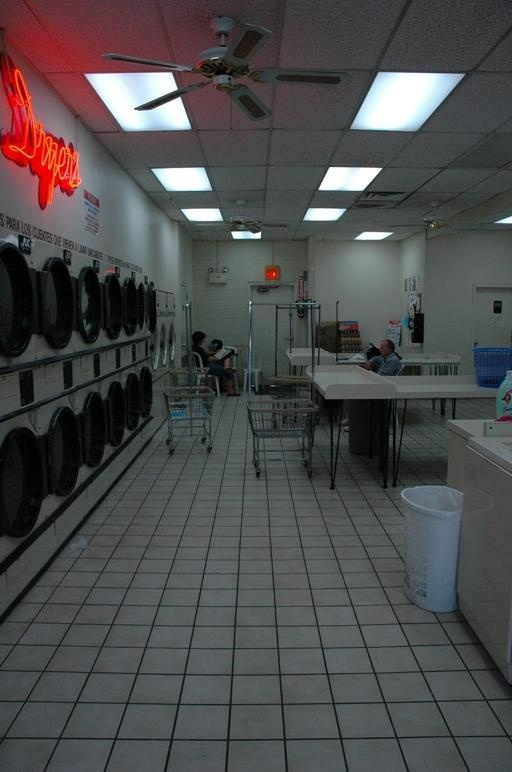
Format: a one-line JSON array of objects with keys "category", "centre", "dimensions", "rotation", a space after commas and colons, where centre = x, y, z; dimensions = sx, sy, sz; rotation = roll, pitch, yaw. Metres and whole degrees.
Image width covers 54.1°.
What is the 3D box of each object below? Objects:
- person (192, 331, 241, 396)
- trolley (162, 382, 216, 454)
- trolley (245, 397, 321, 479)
[{"category": "person", "centre": [-0.836, -0.504, 9.359], "dimensions": [0.717, 1.341, 0.863], "rotation": [-4, 19, 5]}, {"category": "trolley", "centre": [-0.743, 0.335, 5.564], "dimensions": [0.573, 1.103, 0.739], "rotation": [0, 2, -1]}, {"category": "trolley", "centre": [0.255, 0.382, 4.664], "dimensions": [0.589, 0.706, 0.780], "rotation": [-1, 8, -2]}]
